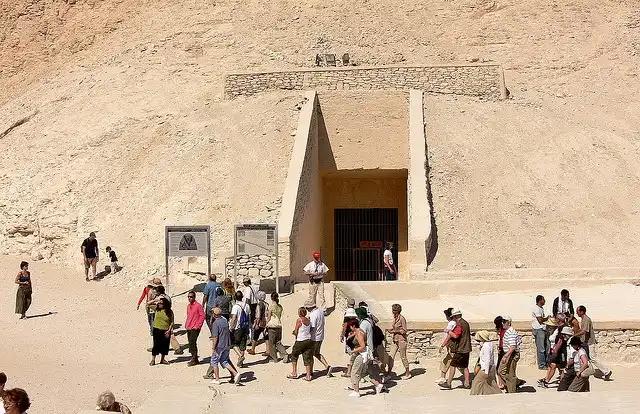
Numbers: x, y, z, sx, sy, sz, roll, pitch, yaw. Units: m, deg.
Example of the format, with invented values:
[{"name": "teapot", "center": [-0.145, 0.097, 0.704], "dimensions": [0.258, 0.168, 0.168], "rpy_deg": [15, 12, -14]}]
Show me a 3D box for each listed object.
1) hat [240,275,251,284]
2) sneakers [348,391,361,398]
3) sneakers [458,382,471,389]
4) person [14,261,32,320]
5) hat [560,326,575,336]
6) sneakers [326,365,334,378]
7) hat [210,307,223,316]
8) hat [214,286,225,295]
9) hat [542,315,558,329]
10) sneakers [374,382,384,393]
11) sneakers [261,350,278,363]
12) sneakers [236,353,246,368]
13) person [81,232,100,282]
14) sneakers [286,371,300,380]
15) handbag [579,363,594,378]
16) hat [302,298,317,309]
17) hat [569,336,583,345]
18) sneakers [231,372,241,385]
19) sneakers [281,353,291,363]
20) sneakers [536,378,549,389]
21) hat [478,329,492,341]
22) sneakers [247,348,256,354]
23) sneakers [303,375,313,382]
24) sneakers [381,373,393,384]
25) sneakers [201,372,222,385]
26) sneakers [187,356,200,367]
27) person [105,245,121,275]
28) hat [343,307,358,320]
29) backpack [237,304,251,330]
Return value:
[{"name": "hat", "center": [-2.292, 2.216, 24.621], "dimensions": [0.228, 0.132, 0.308], "rpy_deg": [3, 1, -42]}, {"name": "sneakers", "center": [0.923, 5.125, 22.134], "dimensions": [0.277, 0.083, 0.137], "rpy_deg": [3, -5, 4]}, {"name": "sneakers", "center": [4.065, 5.002, 22.742], "dimensions": [0.245, 0.158, 0.404], "rpy_deg": [3, -7, -20]}, {"name": "person", "center": [-9.838, 2.738, 26.753], "dimensions": [0.511, 1.877, 1.295], "rpy_deg": [4, -8, -19]}, {"name": "hat", "center": [6.857, 3.433, 22.417], "dimensions": [0.266, 0.137, 0.307], "rpy_deg": [0, -18, 22]}, {"name": "sneakers", "center": [0.265, 4.721, 23.228], "dimensions": [0.156, 0.348, 0.170], "rpy_deg": [-22, 43, -36]}, {"name": "hat", "center": [-2.939, 2.918, 22.722], "dimensions": [0.191, 0.116, 0.253], "rpy_deg": [-21, 39, -36]}, {"name": "hat", "center": [-3.008, 2.529, 24.192], "dimensions": [0.251, 0.223, 0.351], "rpy_deg": [2, -7, -6]}, {"name": "hat", "center": [6.687, 3.329, 23.421], "dimensions": [0.137, 0.342, 0.346], "rpy_deg": [8, -10, -43]}, {"name": "sneakers", "center": [1.630, 4.986, 22.326], "dimensions": [0.287, 0.326, 0.117], "rpy_deg": [5, 29, -3]}, {"name": "sneakers", "center": [-1.521, 4.482, 24.178], "dimensions": [0.703, 0.228, 0.224], "rpy_deg": [4, 3, 45]}, {"name": "sneakers", "center": [-2.306, 4.466, 23.530], "dimensions": [0.212, 0.431, 0.191], "rpy_deg": [8, 36, -18]}, {"name": "person", "center": [-8.516, 1.822, 29.782], "dimensions": [0.591, 1.800, 0.907], "rpy_deg": [3, -8, -10]}, {"name": "sneakers", "center": [-0.796, 4.861, 23.171], "dimensions": [0.312, 0.093, 0.151], "rpy_deg": [3, 0, 5]}, {"name": "handbag", "center": [7.218, 4.424, 21.777], "dimensions": [0.390, 0.361, 0.134], "rpy_deg": [4, -8, -22]}, {"name": "hat", "center": [-0.320, 2.766, 23.125], "dimensions": [0.390, 0.129, 0.312], "rpy_deg": [-1, 5, -1]}, {"name": "hat", "center": [6.935, 3.621, 21.922], "dimensions": [0.254, 0.248, 0.257], "rpy_deg": [6, 44, -2]}, {"name": "sneakers", "center": [-2.342, 4.830, 22.810], "dimensions": [0.178, 0.380, 0.191], "rpy_deg": [-13, 42, -38]}, {"name": "sneakers", "center": [-1.016, 4.489, 24.090], "dimensions": [0.249, 0.242, 0.407], "rpy_deg": [1, -6, -4]}, {"name": "sneakers", "center": [6.260, 4.972, 22.805], "dimensions": [0.418, 0.146, 0.136], "rpy_deg": [8, -1, 15]}, {"name": "hat", "center": [4.474, 3.490, 22.050], "dimensions": [0.315, 0.268, 0.404], "rpy_deg": [0, -7, 4]}, {"name": "sneakers", "center": [-2.097, 4.369, 24.518], "dimensions": [0.249, 0.166, 0.187], "rpy_deg": [1, -7, -4]}, {"name": "sneakers", "center": [-0.411, 4.901, 23.135], "dimensions": [0.351, 0.155, 0.177], "rpy_deg": [-3, -8, 30]}, {"name": "sneakers", "center": [1.881, 4.853, 22.938], "dimensions": [0.141, 0.172, 0.406], "rpy_deg": [-42, 4, 13]}, {"name": "sneakers", "center": [-3.104, 4.901, 22.990], "dimensions": [0.621, 0.211, 0.201], "rpy_deg": [8, -2, 32]}, {"name": "sneakers", "center": [-3.762, 4.564, 23.902], "dimensions": [0.187, 0.150, 0.420], "rpy_deg": [0, -3, 22]}, {"name": "person", "center": [-7.724, 1.943, 29.923], "dimensions": [0.490, 1.033, 0.864], "rpy_deg": [3, -7, -14]}, {"name": "hat", "center": [0.863, 2.965, 22.608], "dimensions": [0.308, 0.285, 0.386], "rpy_deg": [2, -7, -12]}, {"name": "backpack", "center": [-2.217, 3.191, 23.631], "dimensions": [0.163, 0.705, 0.409], "rpy_deg": [-3, -8, 27]}]
